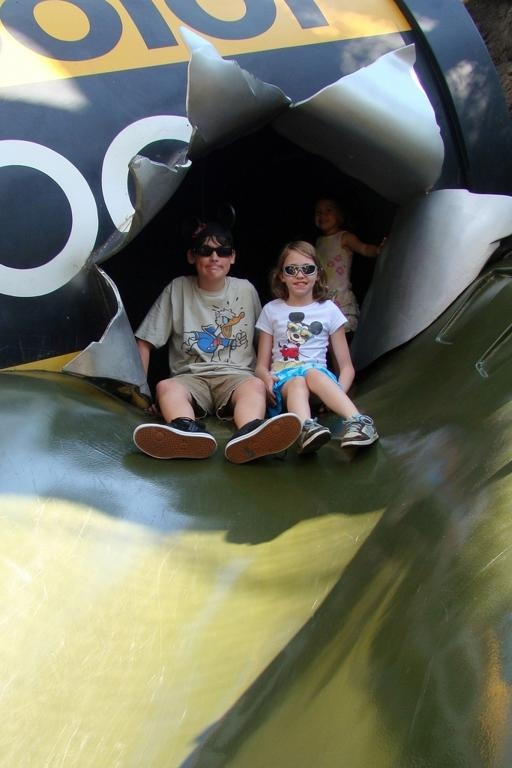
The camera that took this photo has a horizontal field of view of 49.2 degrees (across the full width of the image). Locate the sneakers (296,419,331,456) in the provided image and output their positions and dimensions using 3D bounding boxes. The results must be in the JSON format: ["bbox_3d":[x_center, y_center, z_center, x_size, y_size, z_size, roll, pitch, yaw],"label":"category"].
[{"bbox_3d":[0.165,0.154,1.605,0.064,0.053,0.132,42,13,5],"label":"sneakers"}]

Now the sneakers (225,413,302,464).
[{"bbox_3d":[0.020,0.136,1.606,0.241,0.111,0.109,-21,27,-8],"label":"sneakers"}]

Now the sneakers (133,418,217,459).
[{"bbox_3d":[-0.221,0.132,1.571,0.238,0.102,0.115,5,34,-14],"label":"sneakers"}]
